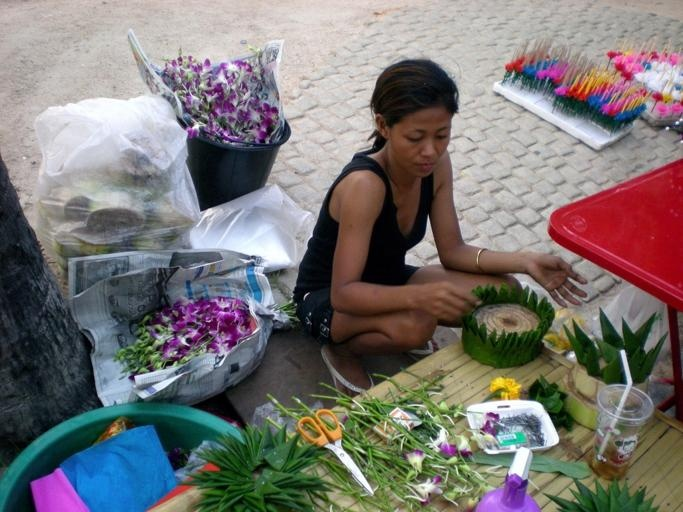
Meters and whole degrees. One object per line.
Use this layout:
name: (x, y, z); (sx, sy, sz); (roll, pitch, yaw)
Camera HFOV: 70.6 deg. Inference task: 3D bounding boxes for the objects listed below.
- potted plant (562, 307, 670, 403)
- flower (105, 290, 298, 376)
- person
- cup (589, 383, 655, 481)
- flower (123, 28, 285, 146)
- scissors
potted plant: (0.986, 0.338, 1.713); (0.288, 0.264, 0.223); (-10, 39, -9)
flower: (-0.805, 0.389, 2.530); (0.718, 0.131, 0.437); (-10, 40, -9)
person: (0.420, 0.011, 2.619); (1.072, 1.943, 1.125); (-12, 36, -21)
cup: (0.921, 0.589, 1.584); (0.203, 0.299, 0.205); (0, 35, 0)
flower: (-0.795, -1.103, 3.114); (0.895, 0.687, 0.695); (-16, 41, -16)
scissors: (-0.032, 0.657, 1.604); (0.163, 0.125, 0.328); (-18, 42, -18)
